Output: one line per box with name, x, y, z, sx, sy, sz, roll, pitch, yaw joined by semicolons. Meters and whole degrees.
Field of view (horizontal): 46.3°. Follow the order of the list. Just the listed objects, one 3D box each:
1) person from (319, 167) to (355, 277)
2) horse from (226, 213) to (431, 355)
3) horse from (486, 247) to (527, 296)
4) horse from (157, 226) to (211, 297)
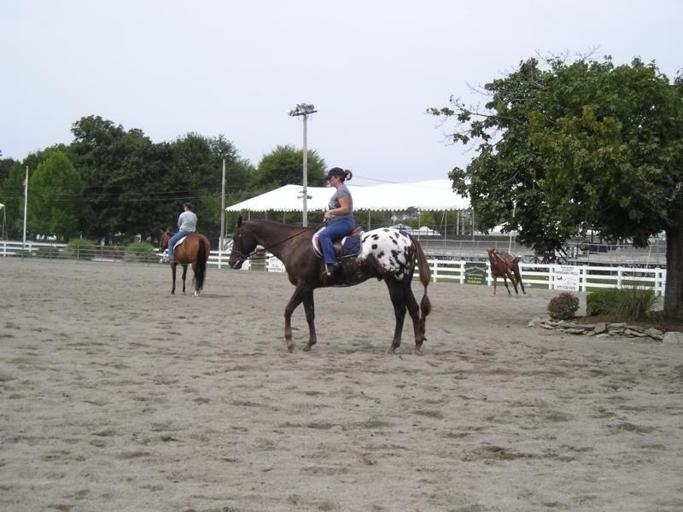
person;-0.076;-0.626;14.185;0.636;1.906;0.987;2;10;2
horse;-0.137;0.570;14.566;3.482;2.255;1.310;4;10;6
horse;5.547;0.483;27.101;0.494;1.574;2.208;-6;-6;38
horse;-4.356;0.097;21.890;0.569;1.949;2.385;1;-2;-41
